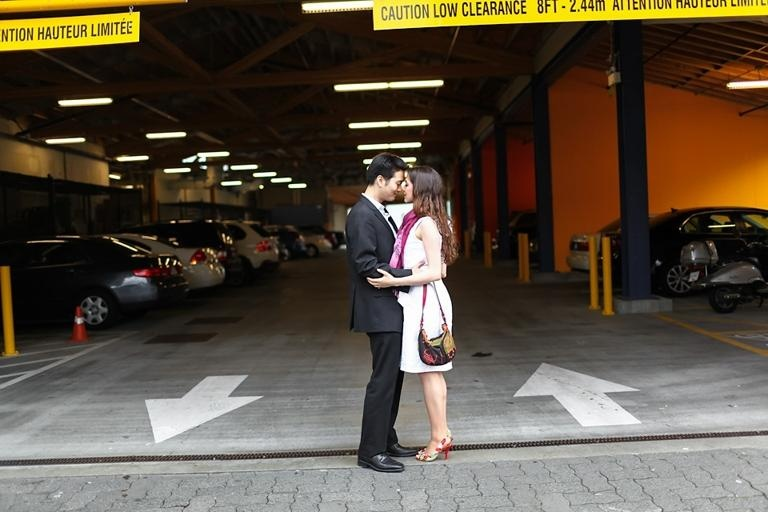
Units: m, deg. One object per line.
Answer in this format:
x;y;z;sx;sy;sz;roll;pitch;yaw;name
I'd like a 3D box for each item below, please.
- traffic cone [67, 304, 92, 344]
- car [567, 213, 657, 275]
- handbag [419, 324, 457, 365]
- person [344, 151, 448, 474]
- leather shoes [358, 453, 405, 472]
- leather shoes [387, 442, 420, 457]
-5.428;1.118;10.258;0.254;0.553;0.855;-6;9;-29;traffic cone
5.810;-0.321;14.440;2.386;0.809;1.074;-4;6;-10;car
0.477;0.808;5.327;0.344;0.390;0.146;-3;8;-7;handbag
0.001;0.514;5.413;0.650;2.866;0.511;-3;8;-5;person
-0.026;1.893;5.470;0.431;0.169;0.163;0;2;7;leather shoes
0.166;1.853;5.677;0.364;0.138;0.119;-1;0;-3;leather shoes
